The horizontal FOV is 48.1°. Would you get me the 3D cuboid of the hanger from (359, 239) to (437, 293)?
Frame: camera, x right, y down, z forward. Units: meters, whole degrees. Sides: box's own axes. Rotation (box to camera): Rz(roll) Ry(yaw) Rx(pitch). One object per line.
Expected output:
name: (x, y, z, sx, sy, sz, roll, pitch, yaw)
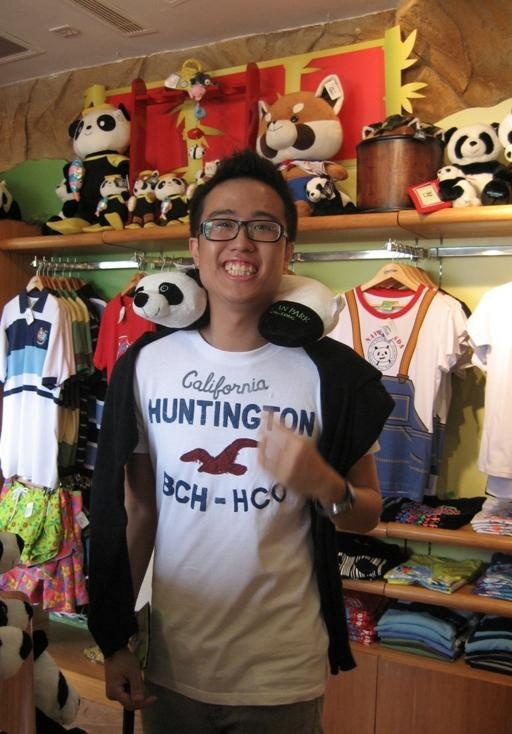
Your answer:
hanger: (0.560, -0.395, 2.226, 0.245, 0.134, 0.043, 14, 24, 41)
